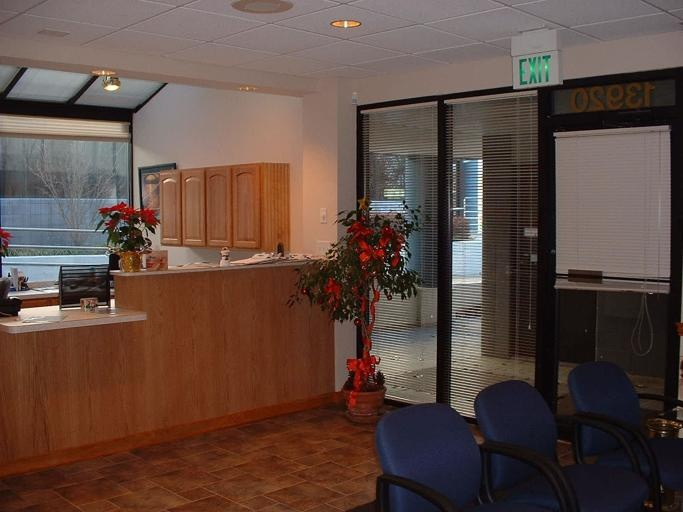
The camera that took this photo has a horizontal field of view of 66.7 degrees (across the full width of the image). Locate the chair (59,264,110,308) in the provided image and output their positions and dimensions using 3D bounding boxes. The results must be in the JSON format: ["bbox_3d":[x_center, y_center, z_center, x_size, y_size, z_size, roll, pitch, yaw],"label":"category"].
[{"bbox_3d":[-2.289,0.273,4.596,0.388,0.294,0.148,-1,6,-18],"label":"chair"}]

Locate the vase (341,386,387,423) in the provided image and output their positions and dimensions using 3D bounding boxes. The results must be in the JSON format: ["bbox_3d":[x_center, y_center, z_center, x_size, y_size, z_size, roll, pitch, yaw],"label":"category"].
[{"bbox_3d":[0.235,1.472,5.173,0.411,0.280,0.404,-2,-12,20],"label":"vase"}]

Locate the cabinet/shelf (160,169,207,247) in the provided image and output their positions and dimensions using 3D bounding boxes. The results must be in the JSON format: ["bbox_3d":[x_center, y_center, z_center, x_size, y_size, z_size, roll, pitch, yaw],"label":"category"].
[{"bbox_3d":[-2.109,-0.651,6.950,0.394,0.981,1.117,3,-4,-41],"label":"cabinet/shelf"}]

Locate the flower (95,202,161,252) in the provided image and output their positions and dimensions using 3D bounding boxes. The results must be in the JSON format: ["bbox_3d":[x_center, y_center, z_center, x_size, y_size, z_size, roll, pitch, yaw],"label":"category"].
[{"bbox_3d":[-1.853,-0.254,4.503,0.440,0.416,0.368,-1,4,-25],"label":"flower"}]

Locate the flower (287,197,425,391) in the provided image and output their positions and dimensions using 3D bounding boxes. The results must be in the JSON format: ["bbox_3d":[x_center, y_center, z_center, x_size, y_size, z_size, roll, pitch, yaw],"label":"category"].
[{"bbox_3d":[0.163,0.400,5.132,1.200,1.904,0.929,1,3,8],"label":"flower"}]

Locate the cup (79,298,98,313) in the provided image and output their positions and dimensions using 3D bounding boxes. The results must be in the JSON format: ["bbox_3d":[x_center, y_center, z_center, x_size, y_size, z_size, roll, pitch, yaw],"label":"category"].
[{"bbox_3d":[-2.206,0.415,4.520,0.150,0.136,0.109,0,-1,-22],"label":"cup"}]

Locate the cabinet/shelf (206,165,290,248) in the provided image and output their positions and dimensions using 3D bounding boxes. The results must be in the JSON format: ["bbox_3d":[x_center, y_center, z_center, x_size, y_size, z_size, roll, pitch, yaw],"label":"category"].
[{"bbox_3d":[-1.100,-0.604,6.261,1.138,0.973,0.400,0,0,38],"label":"cabinet/shelf"}]

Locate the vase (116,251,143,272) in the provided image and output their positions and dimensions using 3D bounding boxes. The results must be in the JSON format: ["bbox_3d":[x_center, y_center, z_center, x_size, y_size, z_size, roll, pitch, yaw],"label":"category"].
[{"bbox_3d":[-1.831,0.042,4.478,0.171,0.175,0.146,-1,3,-24],"label":"vase"}]
